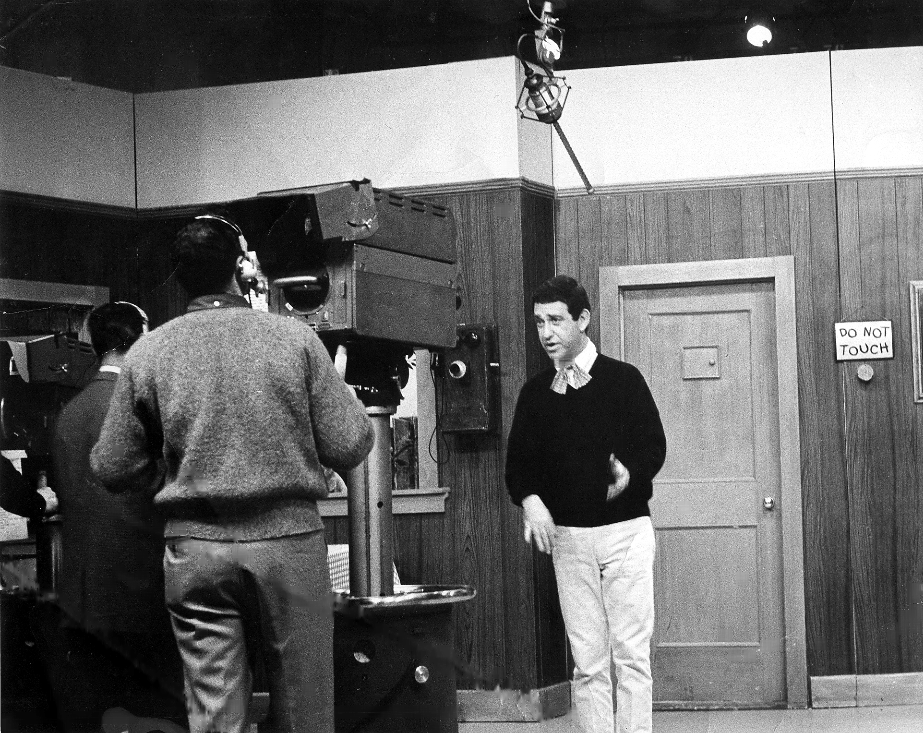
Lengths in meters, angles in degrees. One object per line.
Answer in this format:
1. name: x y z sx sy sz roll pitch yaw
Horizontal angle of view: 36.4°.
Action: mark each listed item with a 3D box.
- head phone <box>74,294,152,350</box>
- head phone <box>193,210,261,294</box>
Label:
1. head phone: -1.395 -0.186 5.646 0.208 0.245 0.177 9 10 36
2. head phone: -0.833 -0.403 4.930 0.239 0.272 0.103 -9 -3 18
